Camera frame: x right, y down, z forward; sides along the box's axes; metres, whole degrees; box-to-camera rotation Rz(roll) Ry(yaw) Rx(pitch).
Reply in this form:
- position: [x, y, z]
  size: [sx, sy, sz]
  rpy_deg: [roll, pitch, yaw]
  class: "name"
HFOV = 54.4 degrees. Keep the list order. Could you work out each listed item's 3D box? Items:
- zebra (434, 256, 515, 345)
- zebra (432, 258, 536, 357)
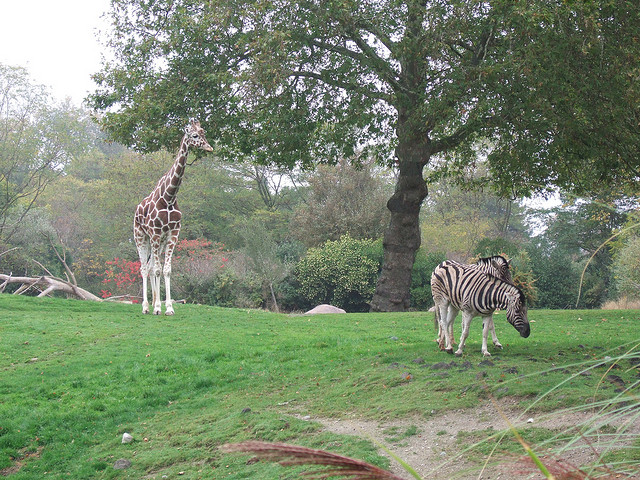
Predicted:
- position: [4.041, 1.369, 16.661]
  size: [1.579, 2.774, 1.650]
  rpy_deg: [0, 3, -5]
  class: "zebra"
- position: [4.122, 1.850, 16.487]
  size: [0.953, 2.528, 3.305]
  rpy_deg: [-13, 19, -31]
  class: "zebra"
